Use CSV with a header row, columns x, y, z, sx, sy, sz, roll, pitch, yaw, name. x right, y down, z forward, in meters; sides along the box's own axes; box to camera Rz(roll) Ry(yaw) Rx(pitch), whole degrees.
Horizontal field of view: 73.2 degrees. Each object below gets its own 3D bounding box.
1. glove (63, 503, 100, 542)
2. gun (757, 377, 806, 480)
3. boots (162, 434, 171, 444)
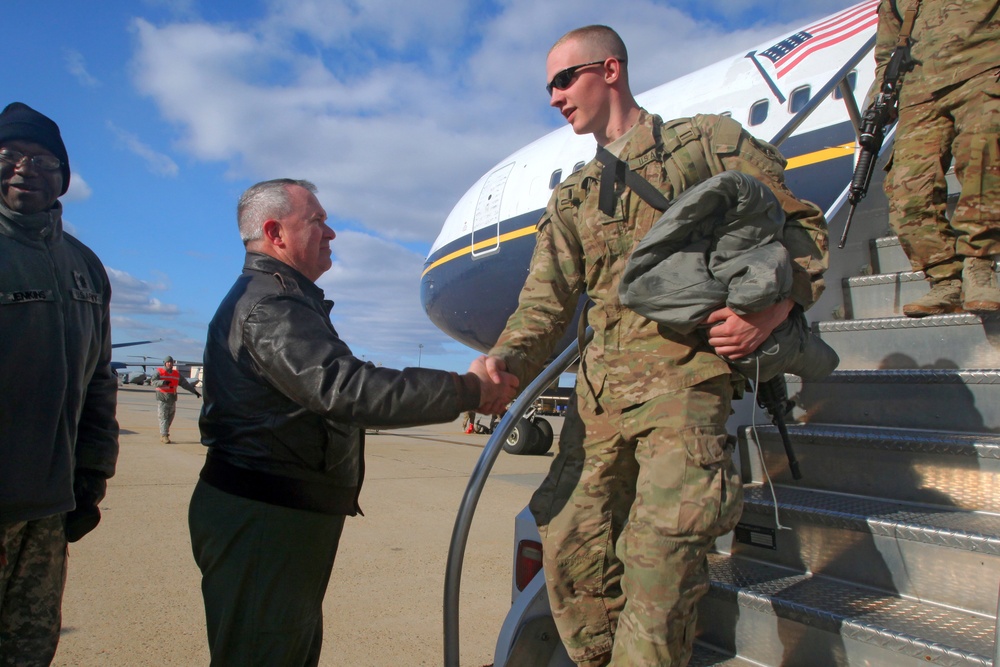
x,y,z,sx,sy,sz,roll,pitch,yaw,name
-1.838,0.815,2.968,0.132,0.175,0.068,44,-2,-39,glove
1.409,0.495,3.365,0.133,0.530,0.246,-17,11,16,gun
-5.847,1.840,11.726,0.150,0.163,0.225,-1,10,-37,boots
